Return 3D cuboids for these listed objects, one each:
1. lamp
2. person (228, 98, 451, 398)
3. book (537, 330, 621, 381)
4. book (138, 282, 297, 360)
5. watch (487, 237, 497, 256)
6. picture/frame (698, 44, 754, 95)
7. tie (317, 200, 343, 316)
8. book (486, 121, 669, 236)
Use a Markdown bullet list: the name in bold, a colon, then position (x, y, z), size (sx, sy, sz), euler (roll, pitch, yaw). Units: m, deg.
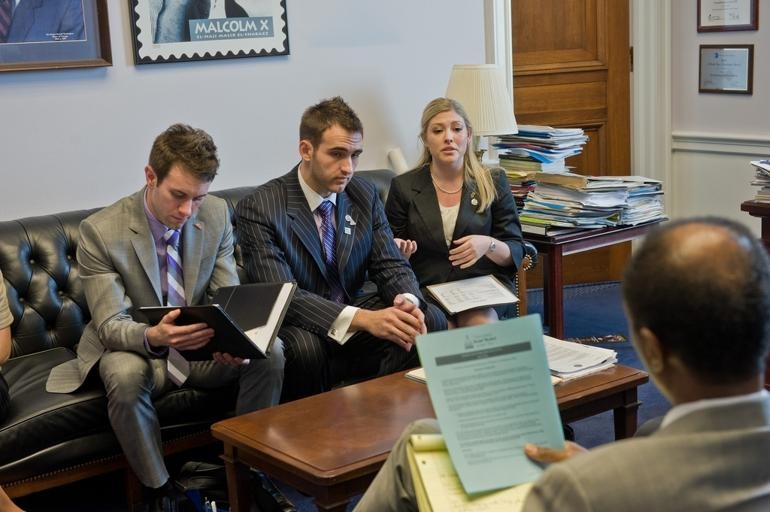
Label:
- **lamp**: position (0.556, -0.823, 3.710), size (0.417, 0.703, 0.431), euler (-10, 26, -10)
- **person**: position (-0.216, 0.179, 2.715), size (0.885, 1.614, 0.907), euler (2, 12, 4)
- **book**: position (0.672, 0.364, 2.156), size (0.256, 0.064, 0.258), euler (17, 27, 42)
- **book**: position (-0.502, 0.220, 2.135), size (0.370, 0.091, 0.360), euler (-1, -30, -5)
- **watch**: position (0.502, -0.057, 2.894), size (0.037, 0.062, 0.057), euler (5, -2, -18)
- **picture/frame**: position (2.349, -1.283, 4.171), size (0.023, 0.314, 0.360), euler (-14, 18, -39)
- **tie**: position (-0.254, 0.016, 2.753), size (0.095, 0.501, 0.069), euler (-4, 2, -31)
- **book**: position (1.164, -0.464, 3.470), size (0.784, 0.271, 0.681), euler (-11, 17, -37)
